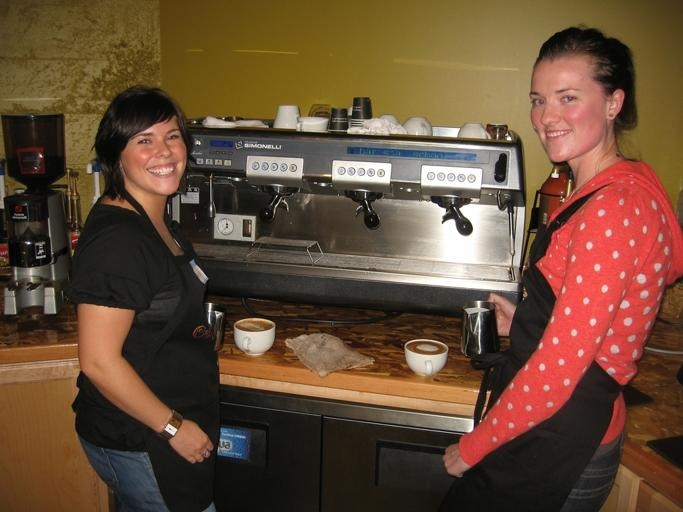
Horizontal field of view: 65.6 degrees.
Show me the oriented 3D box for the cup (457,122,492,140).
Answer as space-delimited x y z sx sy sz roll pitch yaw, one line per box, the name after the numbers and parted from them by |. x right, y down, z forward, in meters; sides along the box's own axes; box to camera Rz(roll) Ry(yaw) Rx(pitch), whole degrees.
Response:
0.466 -0.411 1.838 0.116 0.078 0.087 2 6 0 | cup

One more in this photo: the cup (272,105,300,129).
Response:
-0.205 -0.496 1.980 0.113 0.084 0.111 2 9 0 | cup

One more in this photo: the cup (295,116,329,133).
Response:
-0.107 -0.468 1.891 0.075 0.037 0.089 18 29 35 | cup

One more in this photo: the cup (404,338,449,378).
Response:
0.269 0.311 1.655 0.124 0.077 0.160 5 13 25 | cup

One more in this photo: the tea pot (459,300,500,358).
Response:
0.432 0.231 1.656 0.120 0.164 0.165 -4 4 36 | tea pot

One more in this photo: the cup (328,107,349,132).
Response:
-0.004 -0.483 1.881 0.084 0.079 0.077 0 11 0 | cup

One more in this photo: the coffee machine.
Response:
-1.156 -0.177 2.002 0.254 0.713 0.429 -6 13 -26 | coffee machine

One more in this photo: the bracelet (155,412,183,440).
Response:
-0.446 0.437 1.367 0.042 0.058 0.063 40 2 13 | bracelet

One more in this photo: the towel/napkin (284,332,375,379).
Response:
-0.046 0.312 1.693 0.195 0.061 0.266 -11 16 -42 | towel/napkin

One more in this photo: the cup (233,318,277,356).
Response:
-0.278 0.255 1.676 0.098 0.074 0.123 0 0 2 | cup

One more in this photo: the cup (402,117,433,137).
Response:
0.284 -0.470 1.933 0.096 0.083 0.097 0 16 0 | cup
